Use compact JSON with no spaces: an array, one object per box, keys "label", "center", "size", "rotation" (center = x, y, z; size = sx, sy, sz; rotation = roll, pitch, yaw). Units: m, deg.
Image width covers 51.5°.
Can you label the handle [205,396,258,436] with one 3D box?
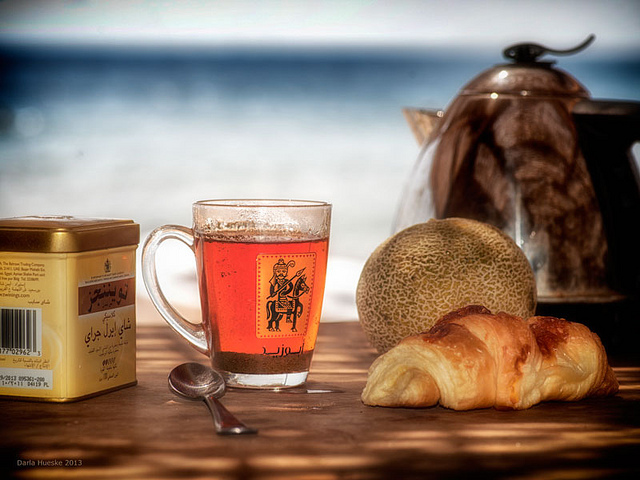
[{"label":"handle","center":[-0.090,0.165,0.627],"size":[0.036,0.016,0.083],"rotation":[-3,6,-30]}]

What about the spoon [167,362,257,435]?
[{"label":"spoon","center":[-0.108,0.161,0.657],"size":[0.053,0.018,0.156],"rotation":[-8,17,-26]}]

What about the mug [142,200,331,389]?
[{"label":"mug","center":[-0.016,0.052,0.779],"size":[0.297,0.196,0.166],"rotation":[-1,2,6]}]
